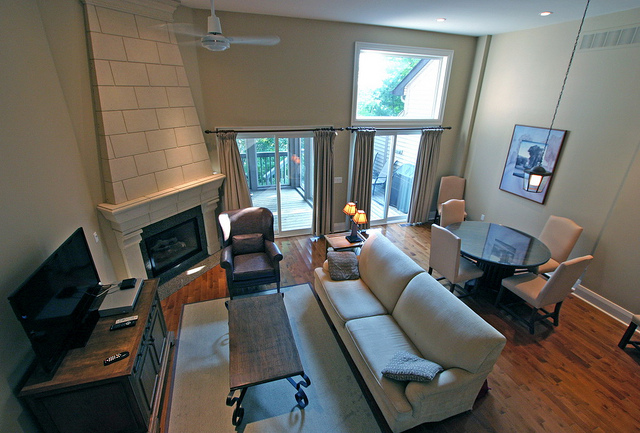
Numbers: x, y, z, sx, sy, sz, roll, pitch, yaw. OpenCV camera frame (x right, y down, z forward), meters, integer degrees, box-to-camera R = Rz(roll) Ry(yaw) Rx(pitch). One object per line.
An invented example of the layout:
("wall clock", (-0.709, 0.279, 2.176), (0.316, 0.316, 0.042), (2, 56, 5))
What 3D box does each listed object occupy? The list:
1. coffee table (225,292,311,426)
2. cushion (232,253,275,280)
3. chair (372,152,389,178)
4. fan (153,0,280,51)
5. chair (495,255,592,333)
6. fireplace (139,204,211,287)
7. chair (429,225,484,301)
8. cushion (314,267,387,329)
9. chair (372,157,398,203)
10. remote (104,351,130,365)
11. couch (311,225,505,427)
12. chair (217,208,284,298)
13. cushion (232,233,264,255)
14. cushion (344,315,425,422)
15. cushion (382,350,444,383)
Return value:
("coffee table", (-0.685, 2.189, 5.840), (1.261, 0.891, 1.822), (-7, 39, -10))
("cushion", (-1.178, 0.874, 6.947), (0.712, 0.221, 0.614), (-3, 21, -10))
("chair", (1.400, -1.232, 9.072), (0.272, 0.413, 0.521), (19, 28, 40))
("fan", (-1.579, -2.768, 5.587), (1.404, 0.718, 1.536), (-15, 26, -34))
("chair", (3.742, 1.321, 6.545), (0.700, 1.214, 0.727), (-17, 41, -16))
("fireplace", (-2.929, 0.309, 7.414), (0.599, 1.469, 1.698), (16, 27, 23))
("chair", (2.381, 0.816, 6.736), (0.733, 1.299, 0.739), (-11, 29, -16))
("cushion", (0.490, 1.393, 6.505), (0.884, 0.371, 1.518), (4, 19, -20))
("chair", (1.502, -0.836, 9.013), (0.705, 0.971, 0.488), (-7, 39, -9))
("remote", (-2.552, 1.778, 4.905), (0.211, 0.052, 0.113), (-11, 20, -18))
("couch", (1.155, 1.541, 5.782), (1.471, 1.687, 2.453), (-10, 24, -25))
("chair", (-1.296, 0.675, 7.088), (1.138, 1.397, 1.224), (-12, 21, -30))
("cushion", (-1.317, 0.513, 7.175), (0.512, 0.374, 0.343), (-1, -3, -11))
("cushion", (0.865, 2.137, 5.736), (0.944, 0.334, 1.378), (-13, 41, -14))
("cushion", (1.220, 2.037, 5.188), (0.681, 0.172, 0.680), (9, 1, -10))
